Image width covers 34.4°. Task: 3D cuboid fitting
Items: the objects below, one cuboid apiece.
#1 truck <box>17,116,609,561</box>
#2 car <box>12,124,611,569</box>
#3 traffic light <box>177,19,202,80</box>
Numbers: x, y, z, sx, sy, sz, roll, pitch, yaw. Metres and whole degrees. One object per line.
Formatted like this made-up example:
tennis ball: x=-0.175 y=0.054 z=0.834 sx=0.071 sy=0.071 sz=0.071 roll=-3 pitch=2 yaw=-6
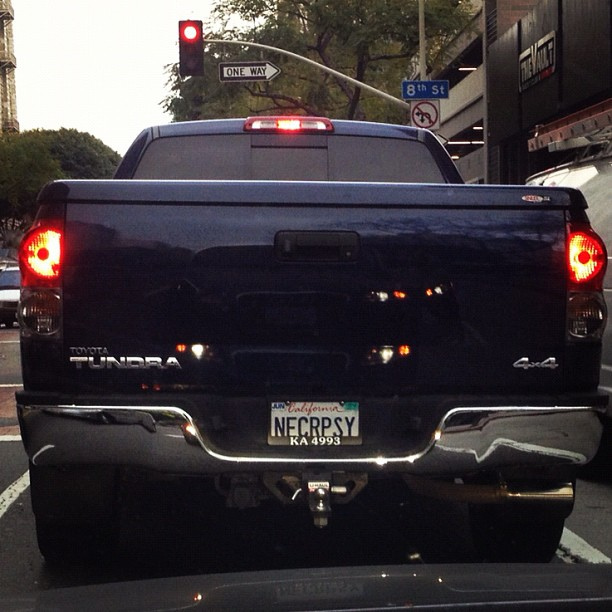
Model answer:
truck: x=-0.059 y=-0.055 z=5.078 sx=1.504 sy=1.330 sz=2.844 roll=1 pitch=-1 yaw=-4
car: x=-0.062 y=-0.028 z=5.345 sx=1.680 sy=1.498 sz=3.182 roll=0 pitch=-3 yaw=-3
traffic light: x=-2.370 y=-5.215 z=20.133 sx=0.443 sy=1.042 sz=0.684 roll=-1 pitch=-6 yaw=-7
